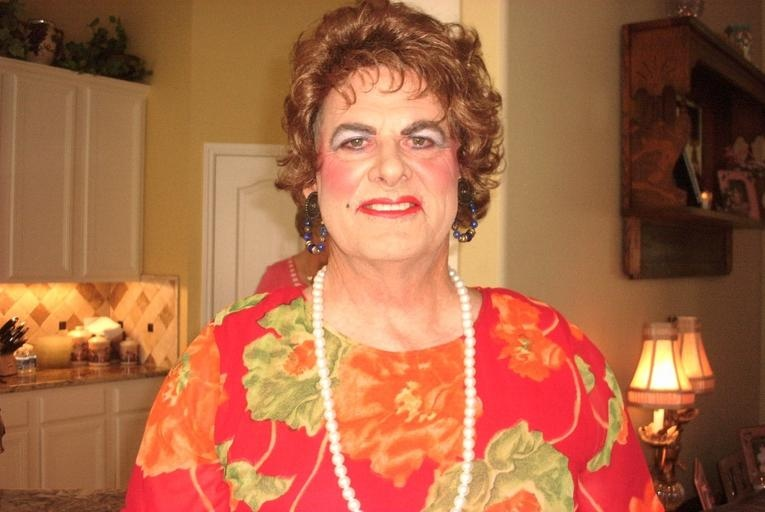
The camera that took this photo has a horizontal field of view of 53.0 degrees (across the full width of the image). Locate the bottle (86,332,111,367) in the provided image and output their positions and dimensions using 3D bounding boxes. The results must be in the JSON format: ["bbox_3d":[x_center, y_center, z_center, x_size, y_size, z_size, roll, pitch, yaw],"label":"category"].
[{"bbox_3d":[-1.859,0.624,5.041,0.167,0.191,0.168,1,-3,-18],"label":"bottle"}]

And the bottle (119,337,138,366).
[{"bbox_3d":[-1.688,0.631,5.099,0.143,0.192,0.138,1,1,0],"label":"bottle"}]

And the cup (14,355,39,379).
[{"bbox_3d":[-2.183,0.676,4.703,0.112,0.124,0.113,2,-1,0],"label":"cup"}]
